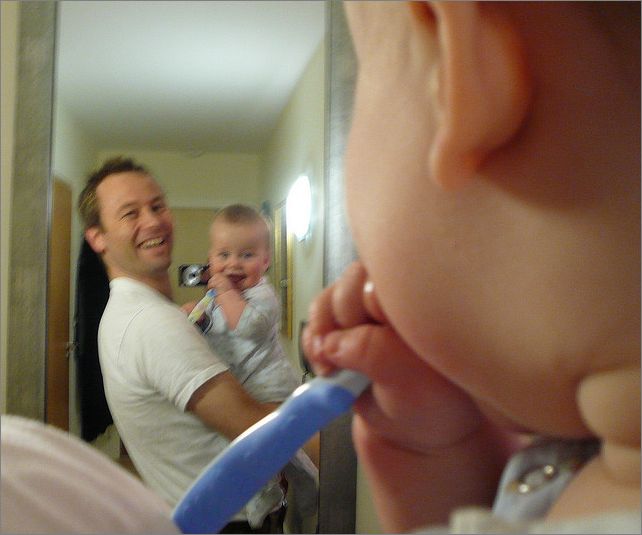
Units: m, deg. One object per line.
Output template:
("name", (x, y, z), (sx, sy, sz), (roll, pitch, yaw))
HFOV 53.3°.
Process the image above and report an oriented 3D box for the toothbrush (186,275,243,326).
("toothbrush", (-0.058, 0.020, 0.399), (0.021, 0.035, 0.007), (-5, 4, -9))
